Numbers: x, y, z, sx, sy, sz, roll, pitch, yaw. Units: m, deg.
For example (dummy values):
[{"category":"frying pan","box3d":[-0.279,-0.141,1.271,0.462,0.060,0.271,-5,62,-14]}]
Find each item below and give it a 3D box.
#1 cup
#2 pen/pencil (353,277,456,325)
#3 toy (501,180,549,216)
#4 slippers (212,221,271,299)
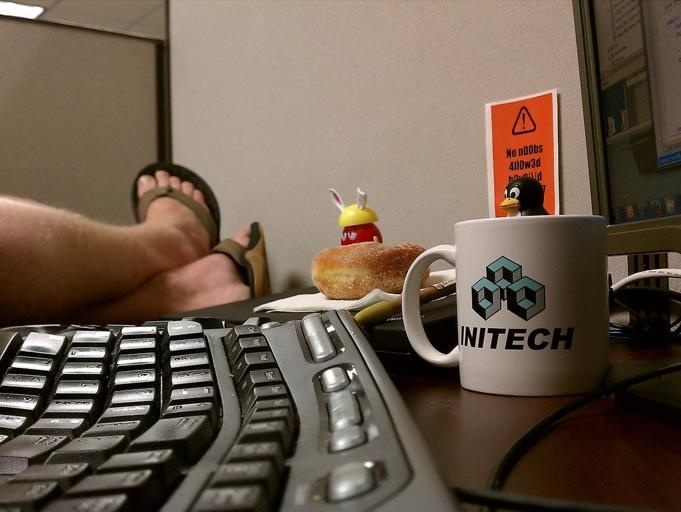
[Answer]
[{"category":"cup","box3d":[0.112,0.042,0.388,0.137,0.112,0.090,-5,-6,44]},{"category":"pen/pencil","box3d":[0.058,0.042,0.489,0.097,0.016,0.015,-19,9,-31]},{"category":"toy","box3d":[0.142,-0.043,0.421,0.033,0.026,0.031,2,3,-6]},{"category":"slippers","box3d":[-0.176,0.005,0.981,0.062,0.076,0.183,-4,24,-13]}]
